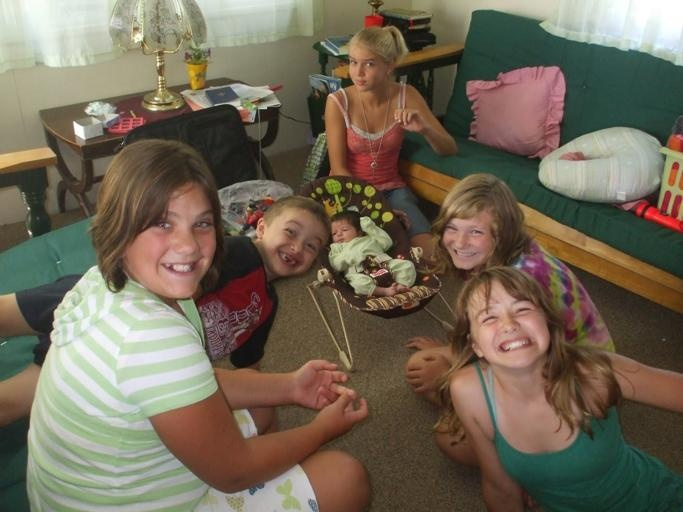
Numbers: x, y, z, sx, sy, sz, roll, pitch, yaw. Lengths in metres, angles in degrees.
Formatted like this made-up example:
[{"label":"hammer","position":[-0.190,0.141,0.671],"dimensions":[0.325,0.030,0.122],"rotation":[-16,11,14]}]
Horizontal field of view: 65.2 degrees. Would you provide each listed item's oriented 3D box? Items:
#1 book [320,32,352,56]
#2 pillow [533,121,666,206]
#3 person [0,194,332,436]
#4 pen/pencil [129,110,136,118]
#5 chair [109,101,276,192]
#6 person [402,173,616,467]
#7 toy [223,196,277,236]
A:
[{"label":"book","position":[-0.040,-1.523,3.876],"dimensions":[0.225,0.054,0.226],"rotation":[-15,46,-19]},{"label":"pillow","position":[1.420,-0.491,2.904],"dimensions":[0.509,0.198,0.474],"rotation":[1,42,23]},{"label":"person","position":[-0.544,0.101,2.336],"dimensions":[1.639,0.711,0.552],"rotation":[-18,63,-24]},{"label":"pen/pencil","position":[-1.225,-0.826,3.114],"dimensions":[0.021,0.025,0.099],"rotation":[19,26,-36]},{"label":"chair","position":[-0.763,-0.613,2.784],"dimensions":[0.468,0.628,0.467],"rotation":[-26,32,-15]},{"label":"person","position":[0.602,0.207,2.374],"dimensions":[0.871,1.115,0.882],"rotation":[1,22,37]},{"label":"toy","position":[-0.476,-0.172,2.635],"dimensions":[0.255,0.082,0.175],"rotation":[-26,64,23]}]
